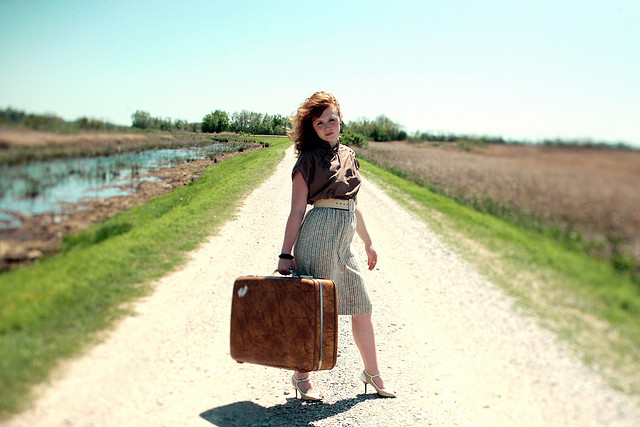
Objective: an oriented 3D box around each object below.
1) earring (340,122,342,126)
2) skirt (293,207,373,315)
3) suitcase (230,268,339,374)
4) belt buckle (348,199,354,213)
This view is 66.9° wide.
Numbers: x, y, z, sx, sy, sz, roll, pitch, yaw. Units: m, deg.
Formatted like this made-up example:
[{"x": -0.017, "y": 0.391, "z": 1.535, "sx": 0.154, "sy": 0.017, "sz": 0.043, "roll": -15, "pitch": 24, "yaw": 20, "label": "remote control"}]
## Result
[{"x": 0.349, "y": -1.517, "z": 8.214, "sx": 0.038, "sy": 0.060, "sz": 0.031, "roll": 2, "pitch": 12, "yaw": -5, "label": "earring"}, {"x": 0.296, "y": 0.694, "z": 8.368, "sx": 1.357, "sy": 1.886, "sz": 1.379, "roll": 0, "pitch": 0, "yaw": 41, "label": "skirt"}, {"x": -0.559, "y": 1.712, "z": 7.696, "sx": 1.691, "sy": 1.432, "sz": 0.322, "roll": 6, "pitch": 10, "yaw": 6, "label": "suitcase"}, {"x": 0.495, "y": -0.141, "z": 8.005, "sx": 0.041, "sy": 0.160, "sz": 0.159, "roll": 7, "pitch": 15, "yaw": -1, "label": "belt buckle"}]
